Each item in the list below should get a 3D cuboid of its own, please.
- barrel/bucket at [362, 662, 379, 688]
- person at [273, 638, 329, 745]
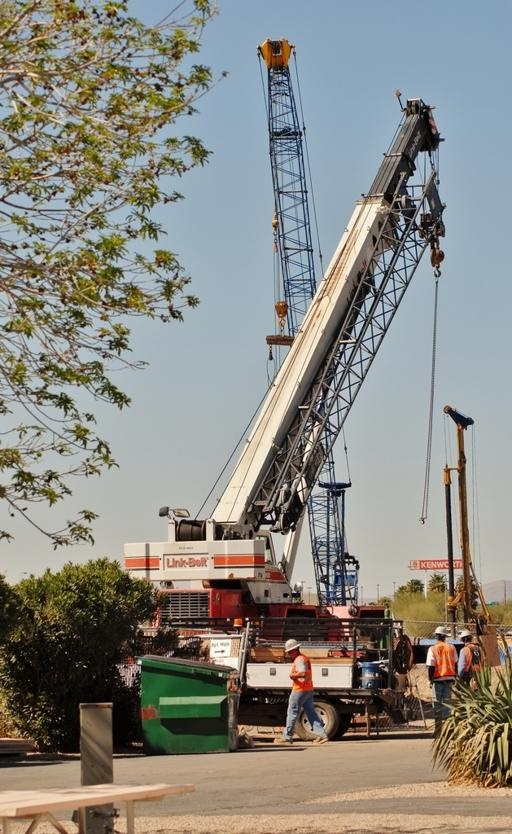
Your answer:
[{"bbox_3d":[1.644,3.690,20.804,0.302,0.327,0.315,0,0,0],"label":"barrel/bucket"},{"bbox_3d":[0.681,3.720,19.726,0.621,1.392,1.383,1,-11,1],"label":"person"}]
